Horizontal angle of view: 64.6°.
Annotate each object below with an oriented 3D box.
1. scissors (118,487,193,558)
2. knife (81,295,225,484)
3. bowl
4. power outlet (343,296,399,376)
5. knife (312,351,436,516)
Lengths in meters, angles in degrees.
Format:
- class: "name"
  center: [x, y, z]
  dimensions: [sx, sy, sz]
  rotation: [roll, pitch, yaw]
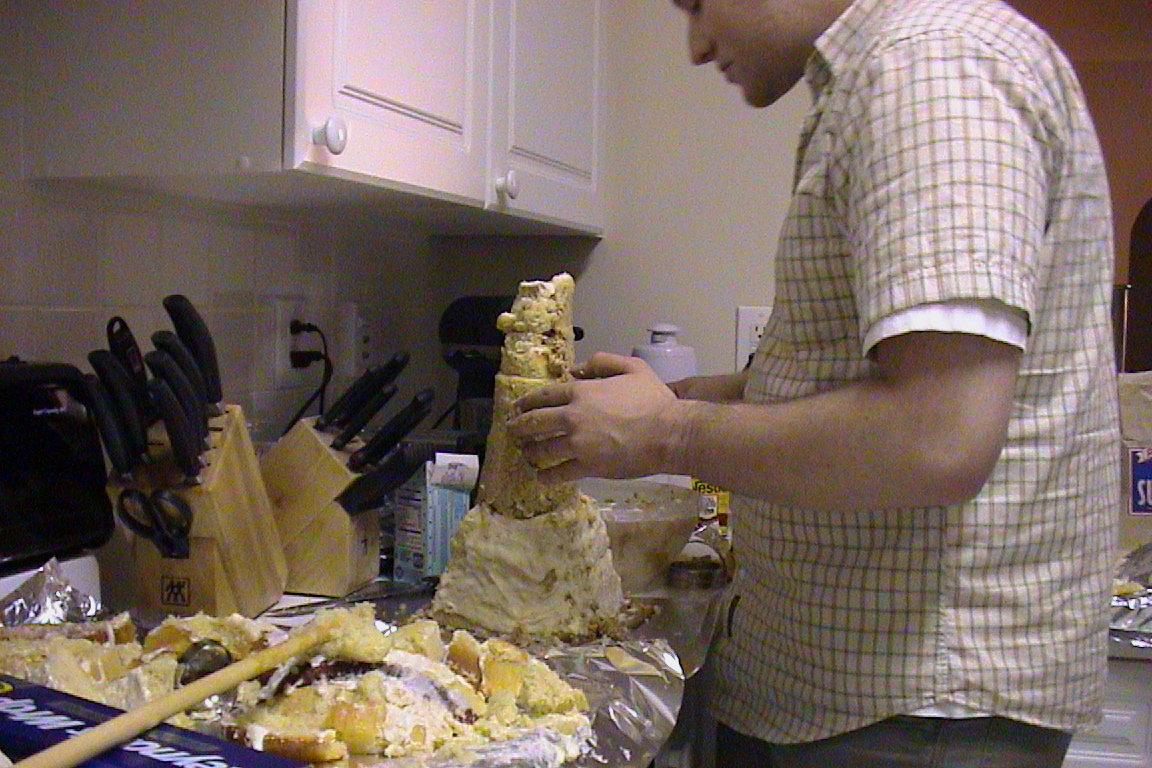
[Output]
- class: "scissors"
  center: [-0.593, 0.193, 1.290]
  dimensions: [0.108, 0.142, 0.033]
  rotation: [-3, 44, 6]
- class: "knife"
  center: [-0.599, 0.012, 1.285]
  dimensions: [0.171, 0.277, 0.064]
  rotation: [-10, 16, -39]
- class: "bowl"
  center: [0.116, 0.250, 1.547]
  dimensions: [0.172, 0.114, 0.171]
  rotation: [1, -7, 0]
- class: "power outlet"
  center: [-0.535, -0.120, 2.285]
  dimensions: [0.048, 0.184, 0.199]
  rotation: [5, 0, 20]
- class: "knife"
  center: [-0.300, 0.083, 1.531]
  dimensions: [0.159, 0.294, 0.068]
  rotation: [41, 13, 21]
